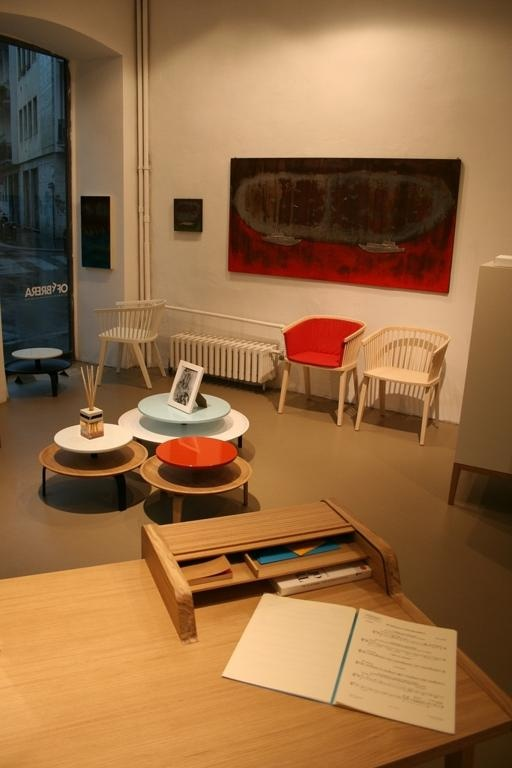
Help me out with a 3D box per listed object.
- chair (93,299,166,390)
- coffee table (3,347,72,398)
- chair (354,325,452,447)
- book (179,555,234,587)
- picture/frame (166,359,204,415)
[{"bbox_3d":[-1.476,-0.494,6.505,0.714,0.961,0.759,1,11,-13],"label":"chair"},{"bbox_3d":[-2.419,-0.242,6.068,0.618,0.399,0.614,-11,20,-42],"label":"coffee table"},{"bbox_3d":[1.421,-0.019,5.368,0.706,1.008,0.624,9,15,31],"label":"chair"},{"bbox_3d":[-0.134,0.512,1.502,0.104,0.033,0.062,-7,25,-14],"label":"book"},{"bbox_3d":[-0.542,0.024,4.332,0.188,0.353,0.273,-11,22,-44],"label":"picture/frame"}]
